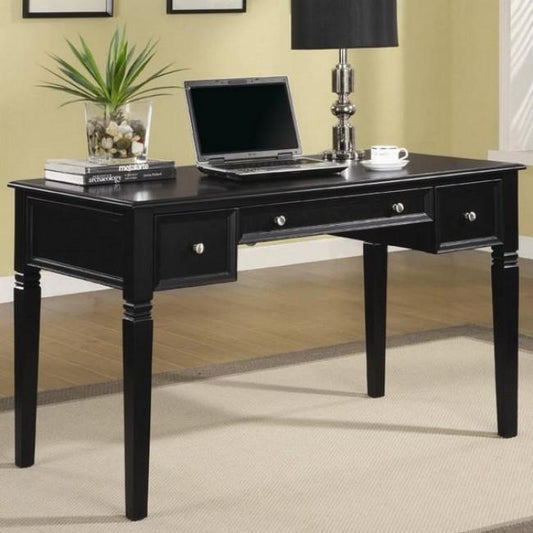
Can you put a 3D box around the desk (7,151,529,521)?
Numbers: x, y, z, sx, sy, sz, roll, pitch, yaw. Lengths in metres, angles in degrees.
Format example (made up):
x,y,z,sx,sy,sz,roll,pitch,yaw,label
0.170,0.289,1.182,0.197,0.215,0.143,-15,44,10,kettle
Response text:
x,y,z,sx,sy,sz,roll,pitch,yaw,label
0.042,0.106,1.618,1.386,0.892,0.595,-3,6,-30,desk

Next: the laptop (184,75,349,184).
x,y,z,sx,sy,sz,roll,pitch,yaw,label
-0.015,-0.382,1.564,0.427,0.298,0.372,-10,17,-37,laptop

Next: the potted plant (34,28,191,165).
x,y,z,sx,sy,sz,roll,pitch,yaw,label
-0.392,-0.422,1.491,0.303,0.310,0.331,0,1,-23,potted plant
